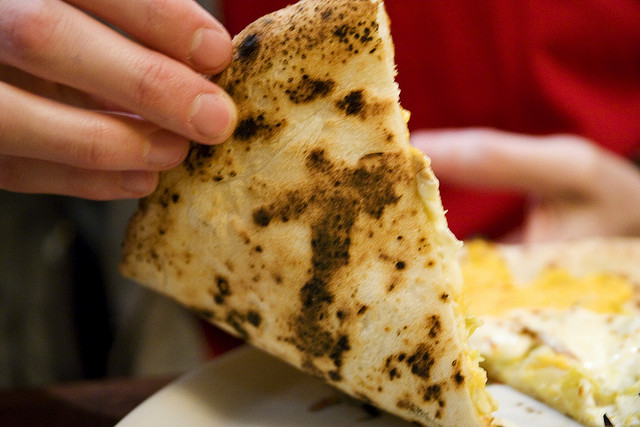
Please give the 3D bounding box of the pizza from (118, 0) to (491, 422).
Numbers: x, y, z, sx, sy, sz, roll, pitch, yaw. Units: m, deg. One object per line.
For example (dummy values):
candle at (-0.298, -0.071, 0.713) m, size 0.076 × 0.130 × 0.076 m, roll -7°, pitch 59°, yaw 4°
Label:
pizza at (-0.061, 0.070, 1.424) m, size 0.638 × 0.304 × 0.872 m, roll -19°, pitch 81°, yaw 0°
